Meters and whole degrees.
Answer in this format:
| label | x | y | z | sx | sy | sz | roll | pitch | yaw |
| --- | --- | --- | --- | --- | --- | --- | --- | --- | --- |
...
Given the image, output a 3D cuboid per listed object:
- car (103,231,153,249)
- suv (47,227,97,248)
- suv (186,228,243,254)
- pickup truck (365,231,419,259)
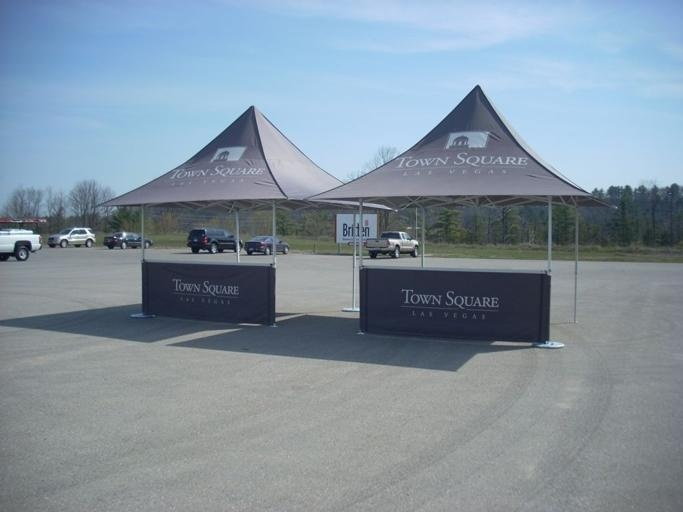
| label | x | y | z | sx | sy | sz | roll | pitch | yaw |
| --- | --- | --- | --- | --- | --- | --- | --- | --- | --- |
| car | -18.244 | -1.314 | 54.183 | 1.267 | 1.408 | 4.025 | 0 | 2 | 18 |
| suv | -22.931 | -1.503 | 54.519 | 1.779 | 1.615 | 3.344 | -2 | -5 | 37 |
| suv | -9.584 | -1.158 | 48.063 | 2.027 | 1.875 | 3.816 | 0 | 2 | 25 |
| pickup truck | 3.409 | -0.813 | 44.900 | 2.099 | 1.798 | 3.968 | 0 | 2 | 36 |
